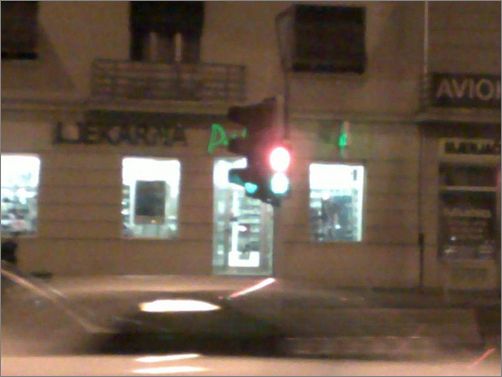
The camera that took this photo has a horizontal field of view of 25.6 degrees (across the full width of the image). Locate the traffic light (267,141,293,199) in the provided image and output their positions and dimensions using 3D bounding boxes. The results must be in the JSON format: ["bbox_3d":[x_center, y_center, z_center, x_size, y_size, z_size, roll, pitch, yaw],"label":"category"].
[{"bbox_3d":[0.625,-0.380,24.017,0.478,1.163,0.219,0,-9,0],"label":"traffic light"}]

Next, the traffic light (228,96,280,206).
[{"bbox_3d":[0.085,-0.811,24.218,1.203,2.427,0.368,0,-9,6],"label":"traffic light"}]
